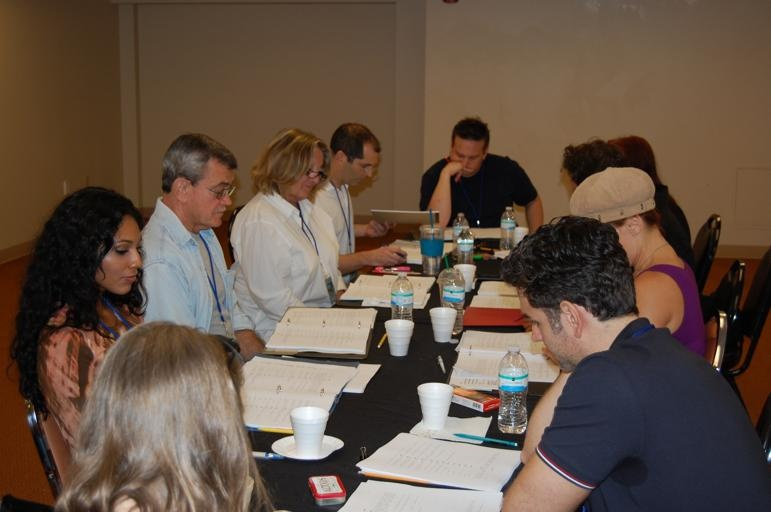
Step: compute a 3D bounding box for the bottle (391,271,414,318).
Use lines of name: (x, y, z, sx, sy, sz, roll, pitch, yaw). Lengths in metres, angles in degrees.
bottle: (0.084, 0.204, 2.725, 0.101, 0.286, 0.105, 0, 22, 0)

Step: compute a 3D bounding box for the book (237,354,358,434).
book: (-0.348, 0.488, 2.072, 0.203, 0.037, 0.323, 6, 19, 6)

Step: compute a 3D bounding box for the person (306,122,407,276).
person: (-0.305, -0.380, 4.265, 0.583, 1.234, 0.703, -1, 29, -14)

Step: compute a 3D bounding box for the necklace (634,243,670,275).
necklace: (1.064, 0.005, 2.230, 0.143, 0.070, 0.148, -26, -1, 24)

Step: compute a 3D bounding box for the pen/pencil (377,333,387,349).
pen/pencil: (-0.010, 0.381, 2.509, 0.015, 0.017, 0.116, 13, 15, 9)

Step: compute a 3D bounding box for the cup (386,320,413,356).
cup: (0.053, 0.343, 2.352, 0.128, 0.135, 0.135, 0, -5, 0)

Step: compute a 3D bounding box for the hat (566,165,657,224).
hat: (0.936, -0.256, 2.313, 0.333, 0.183, 0.271, -16, 18, 14)

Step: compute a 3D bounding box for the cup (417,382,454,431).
cup: (0.165, 0.490, 1.851, 0.126, 0.150, 0.135, 1, -6, 0)

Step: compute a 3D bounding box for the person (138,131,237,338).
person: (-0.936, -0.055, 2.675, 0.385, 1.029, 0.691, 0, 11, -3)

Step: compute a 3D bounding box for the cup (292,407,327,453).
cup: (-0.224, 0.514, 1.708, 0.115, 0.134, 0.124, 0, -1, 0)
